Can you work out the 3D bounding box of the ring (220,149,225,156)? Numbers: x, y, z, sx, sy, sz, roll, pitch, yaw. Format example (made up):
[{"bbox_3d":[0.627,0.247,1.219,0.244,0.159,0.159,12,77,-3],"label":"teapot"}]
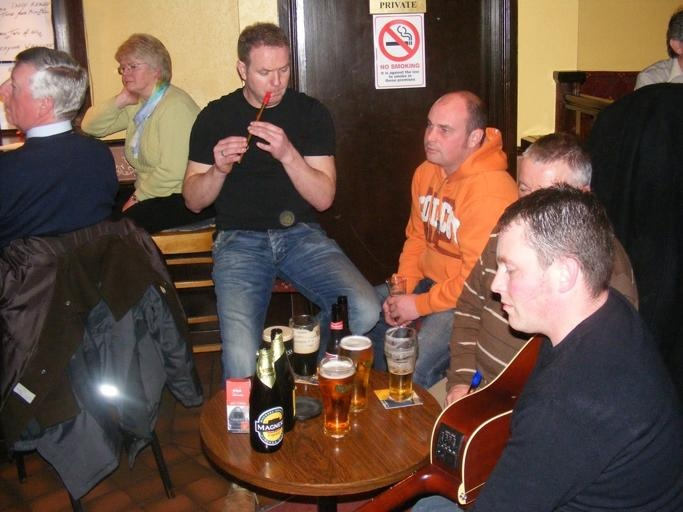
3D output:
[{"bbox_3d":[-0.564,-0.486,2.732,0.006,0.026,0.031,-18,24,-40],"label":"ring"}]

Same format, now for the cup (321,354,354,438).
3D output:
[{"bbox_3d":[-0.014,0.476,1.911,0.112,0.252,0.133,-3,18,0],"label":"cup"}]

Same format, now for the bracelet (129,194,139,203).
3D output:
[{"bbox_3d":[-1.373,-0.377,3.801,0.043,0.016,0.060,4,29,-9],"label":"bracelet"}]

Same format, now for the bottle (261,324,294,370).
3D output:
[{"bbox_3d":[-0.220,0.317,1.974,0.106,0.172,0.104,1,32,0],"label":"bottle"}]
